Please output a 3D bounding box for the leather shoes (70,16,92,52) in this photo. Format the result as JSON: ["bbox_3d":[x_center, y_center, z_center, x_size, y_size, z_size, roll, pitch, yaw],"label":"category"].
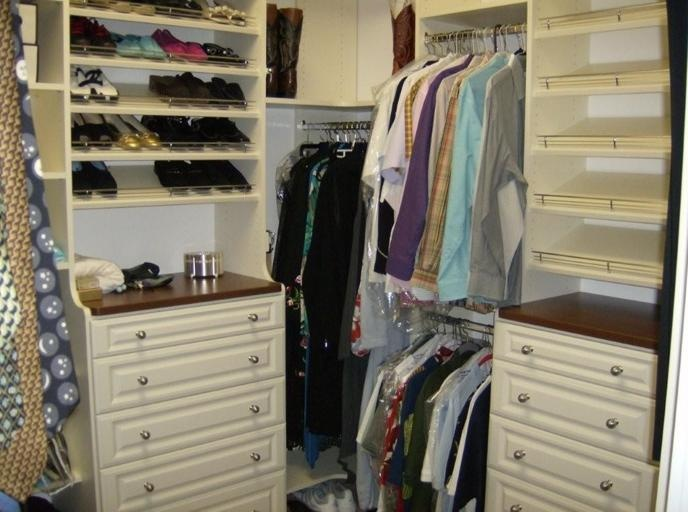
[{"bbox_3d":[-1.111,-0.925,2.410,0.071,0.153,0.221,-3,30,-30],"label":"leather shoes"}]

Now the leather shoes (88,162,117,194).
[{"bbox_3d":[-1.066,-0.346,2.546,0.107,0.128,0.214,-5,12,-25],"label":"leather shoes"}]

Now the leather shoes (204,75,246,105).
[{"bbox_3d":[-0.571,-0.782,2.757,0.170,0.055,0.137,9,11,28],"label":"leather shoes"}]

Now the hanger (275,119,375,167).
[{"bbox_3d":[-0.111,-0.649,3.310,0.505,0.259,0.500,0,11,-2],"label":"hanger"}]

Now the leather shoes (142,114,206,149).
[{"bbox_3d":[-0.803,-0.585,2.709,0.187,0.080,0.261,5,32,-32],"label":"leather shoes"}]

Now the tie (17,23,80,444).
[{"bbox_3d":[-1.194,-0.039,2.346,0.113,1.419,0.197,0,6,28],"label":"tie"}]

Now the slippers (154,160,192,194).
[{"bbox_3d":[-0.808,-0.406,2.729,0.091,0.115,0.277,-9,36,-36],"label":"slippers"}]

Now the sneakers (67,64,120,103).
[{"bbox_3d":[-1.063,-0.757,2.407,0.133,0.081,0.225,-15,47,-36],"label":"sneakers"}]

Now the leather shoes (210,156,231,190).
[{"bbox_3d":[-0.606,-0.391,2.824,0.068,0.086,0.218,-6,45,-21],"label":"leather shoes"}]
